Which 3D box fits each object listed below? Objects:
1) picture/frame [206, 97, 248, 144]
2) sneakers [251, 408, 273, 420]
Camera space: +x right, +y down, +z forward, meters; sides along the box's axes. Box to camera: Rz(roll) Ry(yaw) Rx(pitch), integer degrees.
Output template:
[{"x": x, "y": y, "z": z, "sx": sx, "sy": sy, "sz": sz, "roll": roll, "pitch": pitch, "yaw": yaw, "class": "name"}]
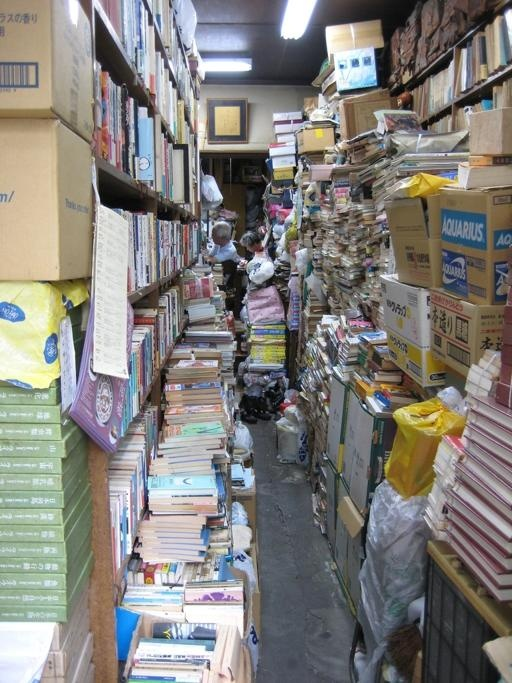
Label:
[{"x": -0.365, "y": -2.872, "z": 6.462, "sx": 0.506, "sy": 0.558, "sz": 0.058, "roll": -6, "pitch": 50, "yaw": -8, "class": "picture/frame"}, {"x": 0.069, "y": 0.798, "z": 5.481, "sx": 0.230, "sy": 0.105, "sz": 0.095, "roll": 1, "pitch": 48, "yaw": 3, "class": "sneakers"}]
